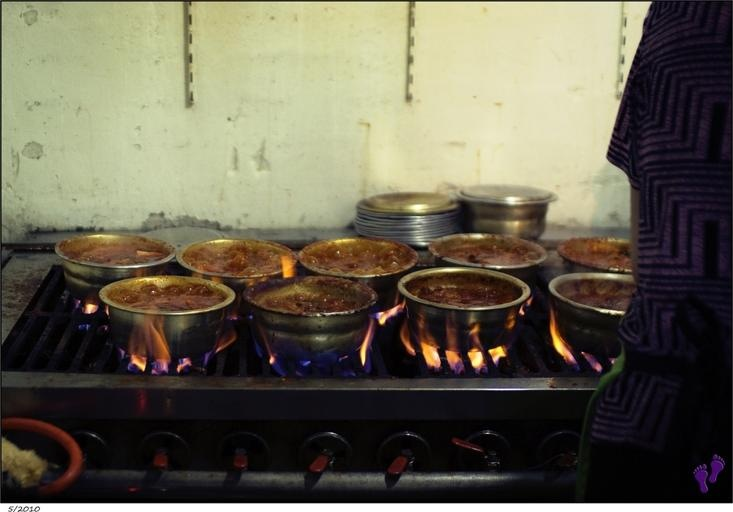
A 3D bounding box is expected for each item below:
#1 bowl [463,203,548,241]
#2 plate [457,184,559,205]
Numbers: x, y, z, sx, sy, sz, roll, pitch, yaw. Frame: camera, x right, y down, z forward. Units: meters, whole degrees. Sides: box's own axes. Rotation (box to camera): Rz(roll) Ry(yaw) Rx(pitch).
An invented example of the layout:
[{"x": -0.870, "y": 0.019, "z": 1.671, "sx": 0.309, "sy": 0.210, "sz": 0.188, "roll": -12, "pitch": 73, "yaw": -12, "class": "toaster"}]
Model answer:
[{"x": 0.807, "y": -0.187, "z": 3.886, "sx": 0.554, "sy": 0.197, "sz": 0.558, "roll": 1, "pitch": 0, "yaw": 0, "class": "bowl"}, {"x": 0.817, "y": -0.358, "z": 3.776, "sx": 0.510, "sy": 0.081, "sz": 0.402, "roll": 7, "pitch": 14, "yaw": 32, "class": "plate"}]
